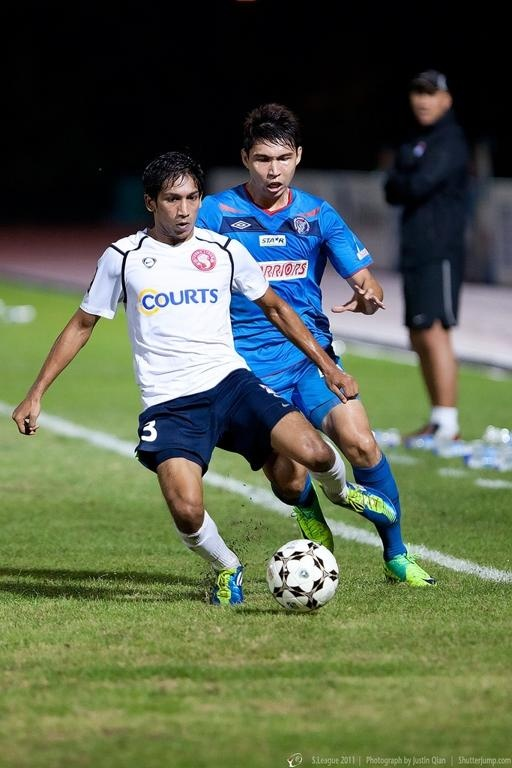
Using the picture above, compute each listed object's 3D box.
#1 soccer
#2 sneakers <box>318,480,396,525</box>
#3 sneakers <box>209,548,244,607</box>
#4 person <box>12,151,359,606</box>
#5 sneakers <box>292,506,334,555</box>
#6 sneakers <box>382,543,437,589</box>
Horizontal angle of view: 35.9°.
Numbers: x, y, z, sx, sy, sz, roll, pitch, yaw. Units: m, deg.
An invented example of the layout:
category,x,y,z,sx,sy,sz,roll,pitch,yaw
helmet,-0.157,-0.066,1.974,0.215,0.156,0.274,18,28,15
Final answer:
category,x,y,z,sx,sy,sz,roll,pitch,yaw
soccer,0.177,0.650,2.701,0.230,0.199,0.215,8,-7,10
sneakers,0.382,0.445,3.063,0.297,0.097,0.123,20,21,21
sneakers,-0.100,0.710,2.786,0.075,0.071,0.193,-2,11,3
person,-0.218,-0.009,2.794,1.133,1.158,0.449,-1,1,3
sneakers,0.245,0.587,3.320,0.099,0.276,0.121,-30,10,9
sneakers,0.569,0.706,3.025,0.079,0.091,0.231,-11,11,-44
